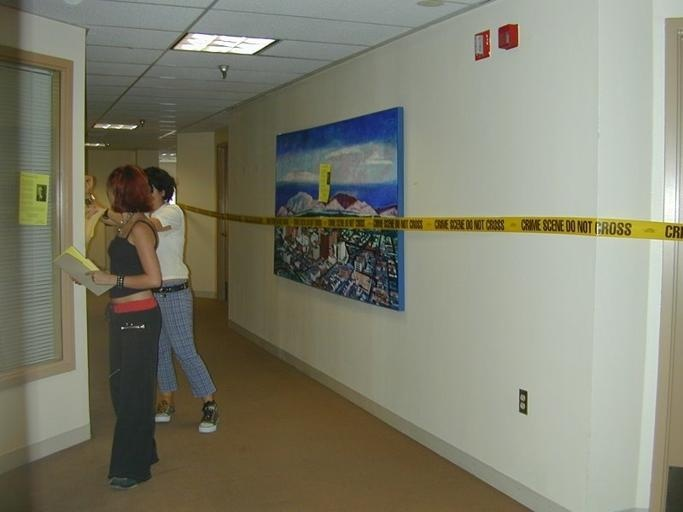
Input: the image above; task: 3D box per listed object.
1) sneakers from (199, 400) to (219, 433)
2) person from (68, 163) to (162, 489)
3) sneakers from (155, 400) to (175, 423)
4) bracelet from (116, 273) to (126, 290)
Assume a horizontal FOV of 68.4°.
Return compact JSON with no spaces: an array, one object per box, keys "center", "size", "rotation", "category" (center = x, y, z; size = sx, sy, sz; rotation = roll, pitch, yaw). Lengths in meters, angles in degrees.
[{"center":[-1.110,1.357,4.164],"size":[0.097,0.138,0.290],"rotation":[-1,-4,-2],"category":"sneakers"},{"center":[-1.388,0.488,3.272],"size":[0.412,2.137,0.216],"rotation":[-2,5,-20],"category":"person"},{"center":[-1.531,1.340,4.309],"size":[0.104,0.124,0.267],"rotation":[2,-17,0],"category":"sneakers"},{"center":[-1.400,0.161,3.165],"size":[0.066,0.089,0.053],"rotation":[3,4,-15],"category":"bracelet"}]
